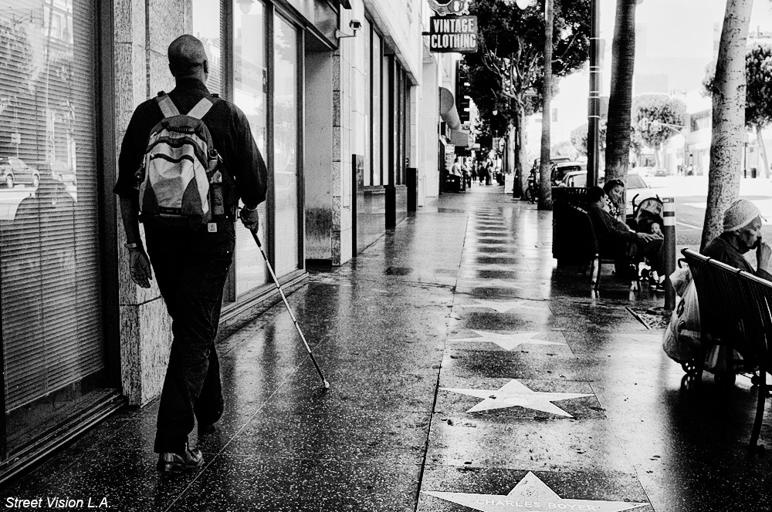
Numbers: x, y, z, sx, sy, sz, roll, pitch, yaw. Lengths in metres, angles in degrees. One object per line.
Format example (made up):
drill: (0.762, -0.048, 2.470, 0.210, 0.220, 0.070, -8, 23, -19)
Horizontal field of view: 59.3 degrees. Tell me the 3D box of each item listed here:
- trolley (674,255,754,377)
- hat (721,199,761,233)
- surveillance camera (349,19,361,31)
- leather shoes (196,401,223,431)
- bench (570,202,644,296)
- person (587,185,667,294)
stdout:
trolley: (2.844, 0.531, 5.836, 0.354, 0.571, 0.989, 13, 10, 10)
hat: (3.248, -0.378, 6.205, 0.272, 0.284, 0.296, -3, 8, 4)
surveillance camera: (-0.599, -4.540, 13.252, 0.185, 0.252, 0.260, -1, -2, 3)
leather shoes: (-1.337, 1.233, 5.191, 0.191, 0.211, 0.219, 5, -15, 6)
bench: (3.818, -0.250, 12.049, 1.363, 2.188, 1.473, -1, 4, 8)
person: (4.001, -0.376, 11.356, 1.192, 1.711, 1.103, 4, 7, 21)
